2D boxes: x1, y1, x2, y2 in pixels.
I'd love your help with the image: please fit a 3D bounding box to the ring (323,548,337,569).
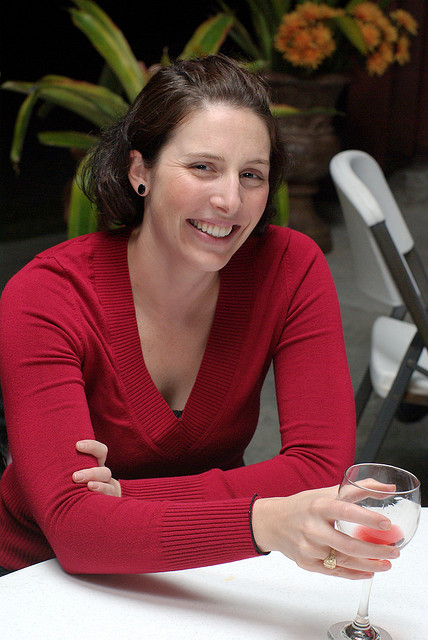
[{"bbox_3d":[0.106,0.216,0.499,0.013,0.019,0.007,22,19,34],"label":"ring"}]
